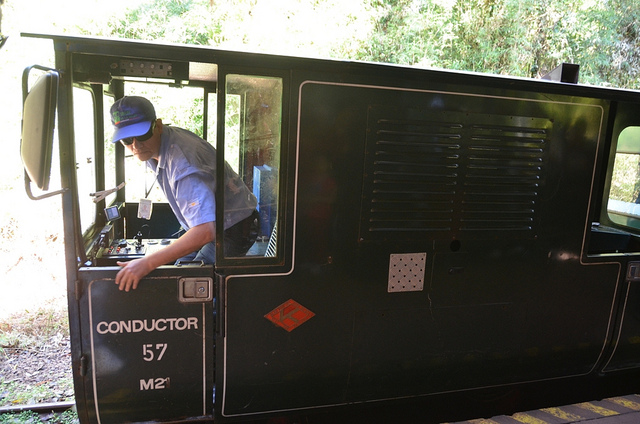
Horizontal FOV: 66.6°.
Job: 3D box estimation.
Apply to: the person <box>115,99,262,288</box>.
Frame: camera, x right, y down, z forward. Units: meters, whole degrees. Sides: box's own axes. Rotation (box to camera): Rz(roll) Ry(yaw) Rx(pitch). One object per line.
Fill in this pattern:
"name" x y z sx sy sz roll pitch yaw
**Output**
"person" -1.127 -0.237 4.206 1.266 1.510 0.845 0 11 8
